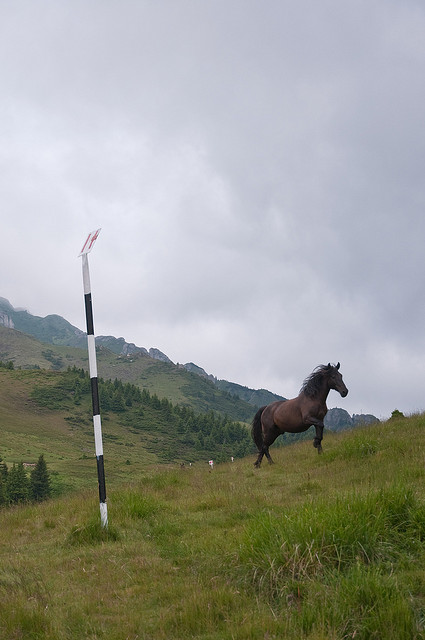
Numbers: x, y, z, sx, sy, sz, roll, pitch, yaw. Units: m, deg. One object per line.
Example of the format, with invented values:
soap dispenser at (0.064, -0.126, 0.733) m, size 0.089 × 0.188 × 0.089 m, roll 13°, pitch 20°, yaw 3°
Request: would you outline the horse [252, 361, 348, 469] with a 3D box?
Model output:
horse at (2.786, 3.363, 23.474) m, size 0.963 × 3.085 × 4.466 m, roll 14°, pitch -25°, yaw -38°
